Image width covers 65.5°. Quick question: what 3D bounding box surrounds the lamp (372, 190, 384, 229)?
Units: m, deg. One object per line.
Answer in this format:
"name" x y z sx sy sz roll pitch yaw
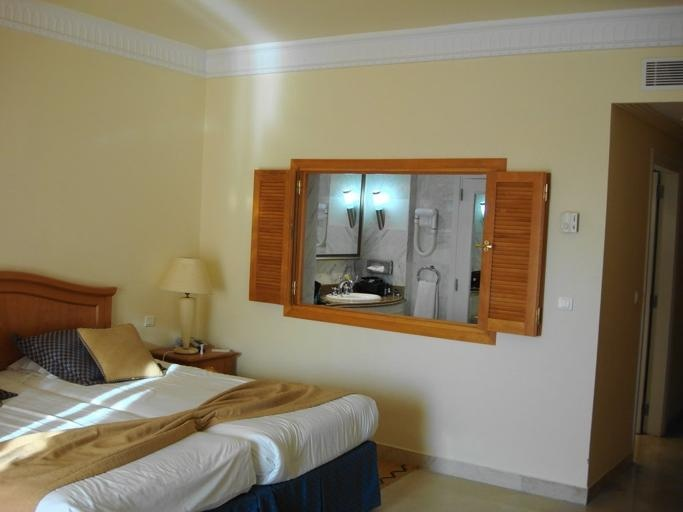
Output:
"lamp" 0.348 -0.435 5.042 0.128 0.354 0.052 5 5 31

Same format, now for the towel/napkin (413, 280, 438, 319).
"towel/napkin" 0.749 0.364 4.726 0.202 0.303 0.172 3 5 18

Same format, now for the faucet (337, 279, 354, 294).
"faucet" 0.036 0.284 5.116 0.107 0.143 0.049 1 -18 19

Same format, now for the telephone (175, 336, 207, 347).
"telephone" -1.506 0.848 5.288 0.347 0.137 0.112 1 6 -2
